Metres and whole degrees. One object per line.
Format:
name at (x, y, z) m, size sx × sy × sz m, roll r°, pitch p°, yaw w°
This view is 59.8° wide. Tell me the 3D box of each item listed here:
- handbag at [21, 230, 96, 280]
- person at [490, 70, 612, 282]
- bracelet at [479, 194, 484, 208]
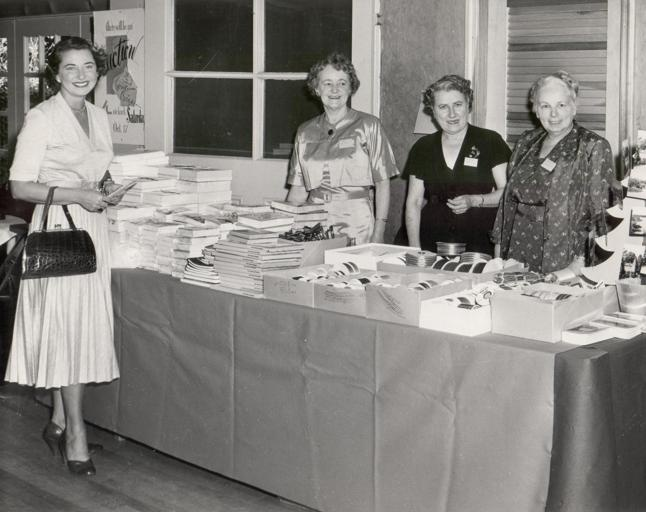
handbag at (-1.207, -0.003, 2.568) m, size 0.205 × 0.157 × 0.081 m, roll -2°, pitch 5°, yaw -30°
person at (1.082, -0.362, 2.551) m, size 0.350 × 0.880 × 0.660 m, roll -1°, pitch 6°, yaw -14°
bracelet at (0.835, -0.287, 2.973) m, size 0.022 × 0.049 × 0.036 m, roll 6°, pitch 2°, yaw -1°
